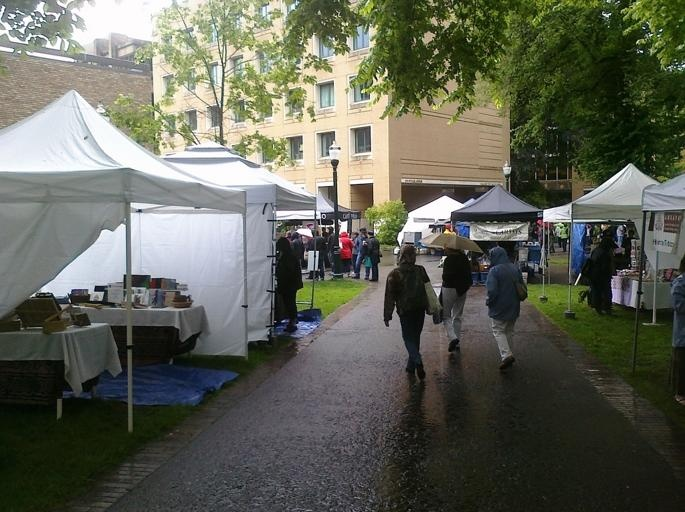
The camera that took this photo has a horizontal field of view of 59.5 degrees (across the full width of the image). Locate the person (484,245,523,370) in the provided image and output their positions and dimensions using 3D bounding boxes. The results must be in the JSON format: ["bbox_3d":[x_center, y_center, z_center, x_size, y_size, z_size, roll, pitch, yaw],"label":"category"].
[{"bbox_3d":[2.844,0.890,10.445,0.633,2.082,0.658,1,5,16],"label":"person"}]

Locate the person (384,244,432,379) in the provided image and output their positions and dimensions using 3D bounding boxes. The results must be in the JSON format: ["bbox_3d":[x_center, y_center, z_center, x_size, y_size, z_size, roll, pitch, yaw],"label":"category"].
[{"bbox_3d":[1.052,0.895,9.822,0.706,2.156,0.569,0,5,8],"label":"person"}]

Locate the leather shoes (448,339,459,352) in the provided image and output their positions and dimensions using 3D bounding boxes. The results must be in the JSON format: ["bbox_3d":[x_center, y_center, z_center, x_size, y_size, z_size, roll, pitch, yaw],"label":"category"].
[{"bbox_3d":[2.167,1.763,11.634,0.135,0.382,0.160,13,41,0],"label":"leather shoes"}]

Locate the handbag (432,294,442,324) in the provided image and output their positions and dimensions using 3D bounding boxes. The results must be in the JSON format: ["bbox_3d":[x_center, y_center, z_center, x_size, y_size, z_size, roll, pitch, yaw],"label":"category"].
[{"bbox_3d":[1.615,0.892,10.205,0.193,0.172,0.659,-26,-25,-6],"label":"handbag"}]

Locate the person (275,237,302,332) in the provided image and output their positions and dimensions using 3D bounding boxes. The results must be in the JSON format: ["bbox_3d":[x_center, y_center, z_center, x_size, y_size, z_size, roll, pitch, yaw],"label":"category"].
[{"bbox_3d":[-1.203,0.639,13.467,0.551,2.198,0.865,-1,5,-5],"label":"person"}]

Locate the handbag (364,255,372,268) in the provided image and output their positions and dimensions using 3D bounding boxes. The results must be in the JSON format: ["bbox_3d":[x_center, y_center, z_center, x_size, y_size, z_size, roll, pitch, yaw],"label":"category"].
[{"bbox_3d":[1.093,0.203,25.701,0.366,0.634,0.524,1,3,29],"label":"handbag"}]

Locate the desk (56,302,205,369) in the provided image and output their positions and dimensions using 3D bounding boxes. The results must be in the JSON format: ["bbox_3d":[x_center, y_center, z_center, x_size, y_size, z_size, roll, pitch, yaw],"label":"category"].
[{"bbox_3d":[-3.390,1.215,9.410,1.254,0.656,1.066,0,-2,5],"label":"desk"}]

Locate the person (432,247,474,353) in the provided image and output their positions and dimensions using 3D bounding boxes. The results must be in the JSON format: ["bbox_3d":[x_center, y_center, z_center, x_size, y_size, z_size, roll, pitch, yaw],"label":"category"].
[{"bbox_3d":[2.197,0.861,11.621,0.578,1.992,0.718,1,5,12],"label":"person"}]
